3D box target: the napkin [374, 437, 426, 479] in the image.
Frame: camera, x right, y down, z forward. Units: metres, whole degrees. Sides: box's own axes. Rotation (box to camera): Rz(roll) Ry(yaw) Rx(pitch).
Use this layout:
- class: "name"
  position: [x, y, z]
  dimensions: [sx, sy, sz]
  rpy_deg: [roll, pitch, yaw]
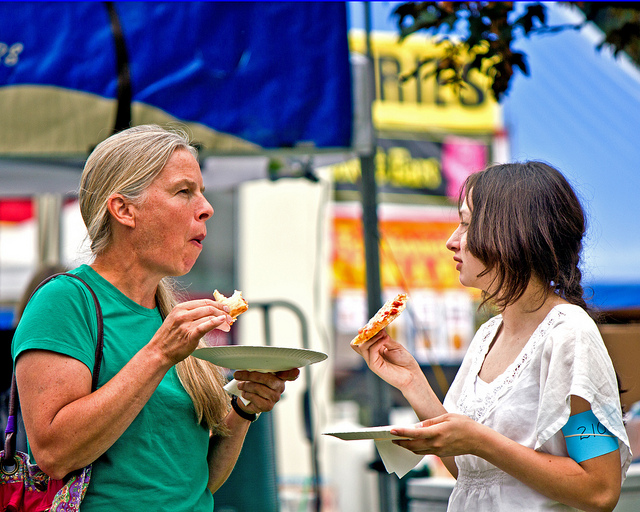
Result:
- class: "napkin"
  position: [0.484, 1.251, 9.999]
  dimensions: [0.278, 0.305, 0.116]
  rpy_deg: [-8, 6, -1]

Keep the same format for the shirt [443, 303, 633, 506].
- class: "shirt"
  position: [1.339, 0.929, 9.772]
  dimensions: [0.690, 1.199, 1.192]
  rpy_deg: [12, -17, -24]

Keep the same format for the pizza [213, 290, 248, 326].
- class: "pizza"
  position: [-0.576, 0.314, 10.009]
  dimensions: [0.213, 0.056, 0.201]
  rpy_deg: [-17, 48, -8]
